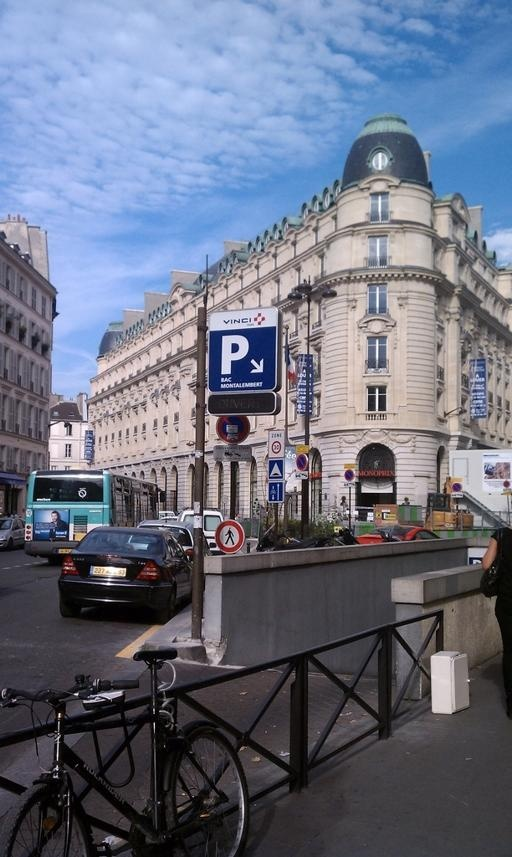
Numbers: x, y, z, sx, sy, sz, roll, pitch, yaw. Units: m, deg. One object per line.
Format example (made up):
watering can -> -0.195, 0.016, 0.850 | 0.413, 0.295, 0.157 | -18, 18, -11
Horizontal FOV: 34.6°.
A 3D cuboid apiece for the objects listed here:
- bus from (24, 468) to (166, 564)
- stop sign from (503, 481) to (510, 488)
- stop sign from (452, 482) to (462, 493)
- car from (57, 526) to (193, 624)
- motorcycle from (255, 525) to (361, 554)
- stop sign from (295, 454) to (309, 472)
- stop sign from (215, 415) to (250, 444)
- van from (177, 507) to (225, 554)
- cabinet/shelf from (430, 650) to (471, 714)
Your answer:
bus -> -5.007, 2.984, 28.333 | 2.723, 3.039, 8.479 | -2, -7, 14
stop sign -> 10.704, 2.357, 35.236 | 0.244, 0.330, 0.572 | -1, -5, 18
stop sign -> 7.732, 2.248, 31.954 | 0.333, 0.394, 0.338 | 1, -5, 3
car -> -1.934, 2.304, 13.039 | 1.493, 1.468, 2.119 | -1, -5, 22
motorcycle -> 0.966, 2.507, 17.832 | 2.088, 0.764, 1.647 | -1, -8, 12
stop sign -> 1.414, 0.987, 25.491 | 0.334, 0.514, 0.762 | 1, -5, -3
stop sign -> -0.298, 0.012, 10.911 | 0.405, 0.389, 0.370 | 1, -5, -5
van -> -1.578, 2.844, 25.826 | 1.715, 1.674, 3.020 | 0, -12, -8
cabinet/shelf -> 1.560, 2.069, 6.725 | 0.260, 0.451, 0.441 | -1, -5, 24
